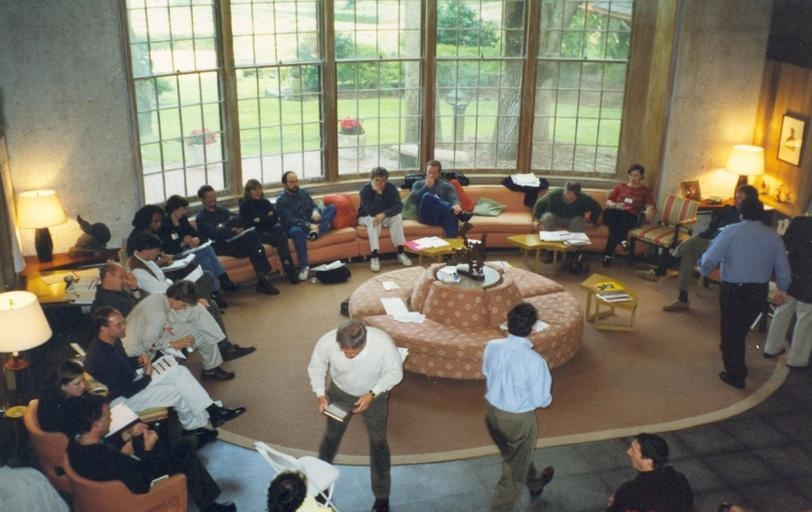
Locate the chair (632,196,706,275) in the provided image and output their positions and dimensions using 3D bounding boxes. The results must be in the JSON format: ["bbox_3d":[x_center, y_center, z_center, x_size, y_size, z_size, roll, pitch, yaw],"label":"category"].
[{"bbox_3d":[4.556,-0.345,10.329,0.946,1.256,0.908,-17,30,-31],"label":"chair"}]

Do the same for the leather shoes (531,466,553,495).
[{"bbox_3d":[1.444,2.366,6.328,0.116,0.219,0.320,22,67,35],"label":"leather shoes"}]

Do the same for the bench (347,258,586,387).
[{"bbox_3d":[0.546,0.859,7.968,2.132,0.510,2.084,-14,21,-42],"label":"bench"}]

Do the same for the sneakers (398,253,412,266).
[{"bbox_3d":[0.001,0.072,10.796,0.141,0.124,0.322,-14,20,-25],"label":"sneakers"}]

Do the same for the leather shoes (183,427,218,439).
[{"bbox_3d":[-2.362,2.070,7.016,0.437,0.118,0.122,19,-12,-21],"label":"leather shoes"}]

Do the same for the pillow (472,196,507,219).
[{"bbox_3d":[1.598,-0.904,11.416,0.451,0.145,0.419,14,62,14],"label":"pillow"}]

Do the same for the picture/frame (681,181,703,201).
[{"bbox_3d":[5.205,-1.175,10.901,0.416,0.449,0.050,-5,3,0],"label":"picture/frame"}]

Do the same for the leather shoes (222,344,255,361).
[{"bbox_3d":[-2.342,1.306,8.335,0.511,0.183,0.160,-7,11,-27],"label":"leather shoes"}]

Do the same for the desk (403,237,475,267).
[{"bbox_3d":[0.478,-0.142,10.193,0.591,0.347,0.735,-10,20,-26],"label":"desk"}]

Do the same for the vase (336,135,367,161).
[{"bbox_3d":[-1.060,-2.095,11.729,0.505,0.470,0.488,-5,17,-13],"label":"vase"}]

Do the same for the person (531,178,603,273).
[{"bbox_3d":[3.018,-0.649,11.038,1.388,1.495,1.129,-8,21,-19],"label":"person"}]

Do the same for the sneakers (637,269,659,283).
[{"bbox_3d":[4.238,0.334,10.302,0.402,0.155,0.137,10,26,2],"label":"sneakers"}]

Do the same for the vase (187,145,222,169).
[{"bbox_3d":[-3.547,-1.731,10.548,0.434,0.233,0.421,-11,16,-39],"label":"vase"}]

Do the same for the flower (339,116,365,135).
[{"bbox_3d":[-1.041,-2.501,11.551,0.364,0.228,0.347,2,19,12],"label":"flower"}]

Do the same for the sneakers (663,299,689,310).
[{"bbox_3d":[4.255,0.769,9.436,0.431,0.165,0.151,0,6,1],"label":"sneakers"}]
